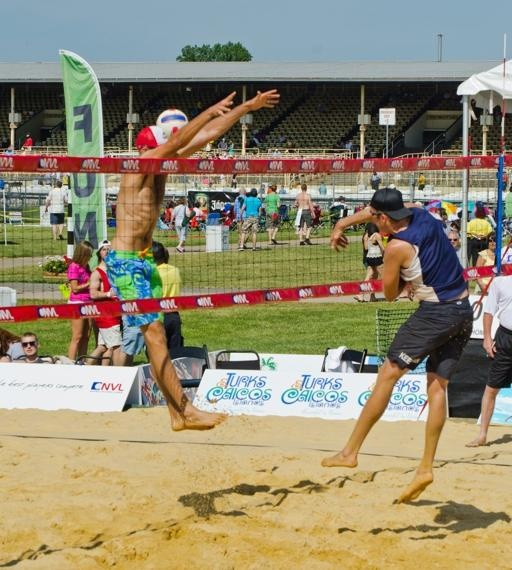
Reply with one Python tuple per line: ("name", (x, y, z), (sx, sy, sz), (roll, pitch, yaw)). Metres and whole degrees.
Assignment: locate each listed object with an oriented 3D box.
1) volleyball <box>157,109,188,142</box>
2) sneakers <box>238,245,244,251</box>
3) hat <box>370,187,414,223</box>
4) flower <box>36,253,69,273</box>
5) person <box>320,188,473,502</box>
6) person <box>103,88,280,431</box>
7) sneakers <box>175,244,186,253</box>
("volleyball", (-0.596, -1.142, 6.861), (0.242, 0.241, 0.218), (-4, 30, -10))
("sneakers", (-0.331, -0.782, 20.691), (0.121, 0.097, 0.089), (-1, -2, -16))
("hat", (0.797, -0.479, 5.913), (0.162, 0.131, 0.244), (-32, 51, -29))
("flower", (-3.569, -0.380, 17.199), (0.364, 0.209, 0.334), (4, 16, -1))
("person", (0.899, 0.349, 5.928), (0.763, 1.855, 0.436), (1, 9, 11))
("person", (-0.511, -0.060, 6.570), (0.969, 2.353, 0.901), (-1, 8, 2))
("sneakers", (-1.643, -0.799, 21.370), (0.130, 0.157, 0.382), (25, 6, 9))
